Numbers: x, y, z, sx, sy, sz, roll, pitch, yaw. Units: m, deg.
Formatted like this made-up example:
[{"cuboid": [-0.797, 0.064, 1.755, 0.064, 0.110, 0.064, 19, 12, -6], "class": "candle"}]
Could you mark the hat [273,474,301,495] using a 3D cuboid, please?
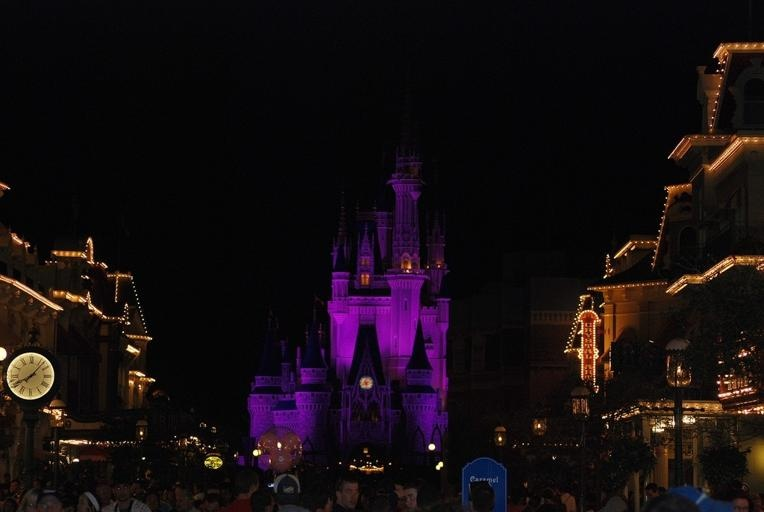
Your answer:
[{"cuboid": [-2.513, 6.022, 43.342, 0.634, 0.680, 0.920, -1, -16, -8], "class": "hat"}]

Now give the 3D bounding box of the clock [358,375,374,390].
[{"cuboid": [-1.484, 11.517, 149.785, 1.303, 1.198, 0.417, 0, -9, -7], "class": "clock"}]
